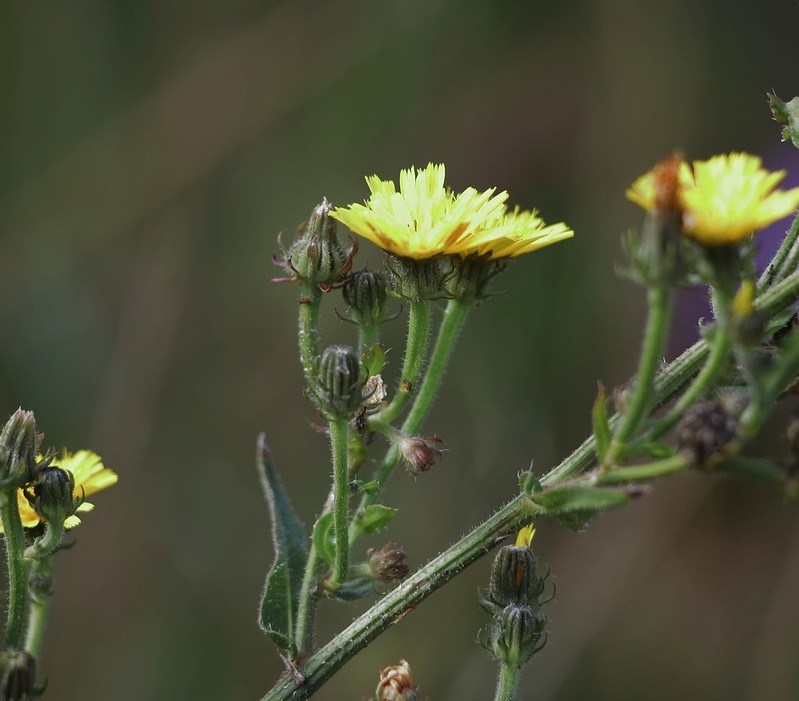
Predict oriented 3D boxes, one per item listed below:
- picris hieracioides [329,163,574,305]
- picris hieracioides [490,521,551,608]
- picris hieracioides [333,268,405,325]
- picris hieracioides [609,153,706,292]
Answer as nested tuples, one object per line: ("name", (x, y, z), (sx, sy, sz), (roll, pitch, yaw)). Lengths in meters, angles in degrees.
("picris hieracioides", (0.101, -0.249, 2.376), (0.323, 0.229, 0.349), (12, -5, -26))
("picris hieracioides", (0.267, 0.505, 2.424), (0.096, 0.174, 0.087), (-17, 24, -26))
("picris hieracioides", (-0.065, -0.117, 2.451), (0.139, 0.147, 0.123), (3, -12, -35))
("picris hieracioides", (0.539, -0.242, 2.191), (0.179, 0.348, 0.207), (1, -3, 31))
